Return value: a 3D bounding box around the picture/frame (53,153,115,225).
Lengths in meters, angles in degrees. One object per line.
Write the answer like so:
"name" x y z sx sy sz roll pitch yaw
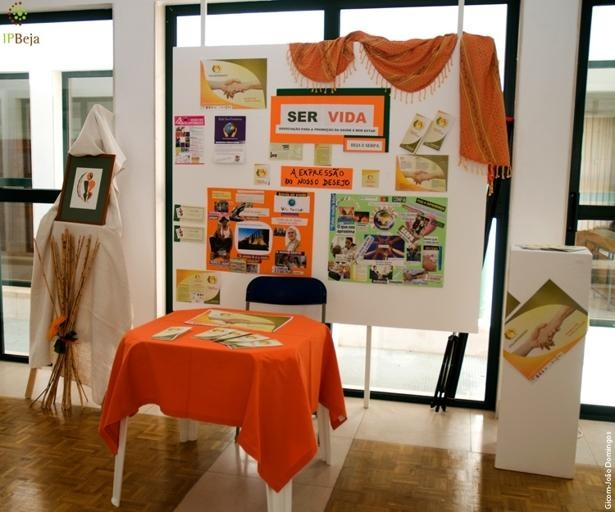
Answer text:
"picture/frame" -1.705 -0.500 4.248 0.509 0.698 0.047 7 -3 20

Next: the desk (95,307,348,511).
"desk" -0.330 0.664 3.391 1.103 0.887 1.169 2 1 18

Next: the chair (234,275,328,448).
"chair" -0.138 0.601 3.656 0.561 1.128 0.609 3 -19 -7
